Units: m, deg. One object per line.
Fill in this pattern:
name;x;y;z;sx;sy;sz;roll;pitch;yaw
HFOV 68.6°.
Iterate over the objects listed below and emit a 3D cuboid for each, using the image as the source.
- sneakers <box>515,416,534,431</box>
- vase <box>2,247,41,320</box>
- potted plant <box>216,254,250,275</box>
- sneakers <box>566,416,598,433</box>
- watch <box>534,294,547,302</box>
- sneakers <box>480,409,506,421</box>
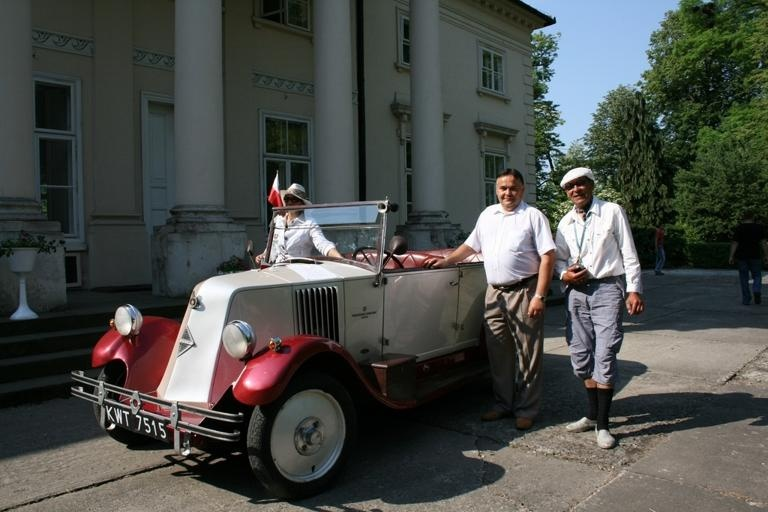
sneakers;1.677;1.938;6.568;0.298;0.124;0.147;-4;8;-20
vase;-5.467;0.401;8.528;0.422;1.034;0.513;-6;9;-35
potted plant;-2.806;0.163;10.511;0.586;0.476;0.849;1;-4;-20
sneakers;2.271;1.939;6.500;0.356;0.158;0.148;2;-4;-17
watch;1.773;0.472;6.389;0.106;0.071;0.111;9;-6;36
sneakers;1.334;1.920;6.845;0.342;0.156;0.125;6;-6;-28
